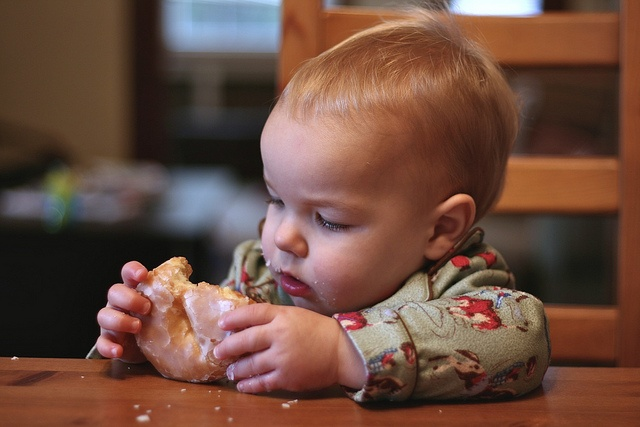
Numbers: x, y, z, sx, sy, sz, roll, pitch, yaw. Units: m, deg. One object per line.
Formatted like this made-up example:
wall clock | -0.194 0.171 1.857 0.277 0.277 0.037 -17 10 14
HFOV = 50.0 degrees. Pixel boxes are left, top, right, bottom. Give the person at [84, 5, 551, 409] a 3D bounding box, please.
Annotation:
person | 0.050 0.030 1.951 1.286 0.965 1.009 -1 -2 41

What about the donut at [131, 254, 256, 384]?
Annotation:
donut | -0.301 0.232 1.599 0.237 0.265 0.095 18 16 27
